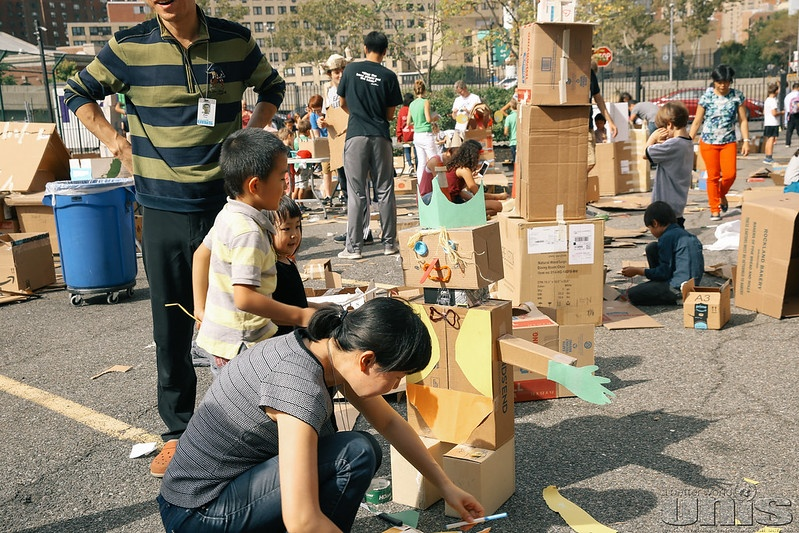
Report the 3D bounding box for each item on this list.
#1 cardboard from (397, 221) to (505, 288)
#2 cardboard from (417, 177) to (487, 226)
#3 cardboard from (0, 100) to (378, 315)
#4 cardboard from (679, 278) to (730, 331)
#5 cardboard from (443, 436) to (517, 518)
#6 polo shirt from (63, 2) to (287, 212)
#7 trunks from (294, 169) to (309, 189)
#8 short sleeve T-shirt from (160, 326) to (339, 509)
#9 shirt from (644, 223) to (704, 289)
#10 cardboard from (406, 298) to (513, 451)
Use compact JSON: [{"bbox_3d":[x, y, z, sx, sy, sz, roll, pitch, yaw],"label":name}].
[{"bbox_3d":[0.341,-0.058,3.979,0.662,0.381,0.431,0,-1,18],"label":"cardboard"},{"bbox_3d":[0.319,-0.405,3.841,0.328,0.262,0.323,-6,10,-11],"label":"cardboard"},{"bbox_3d":[-3.878,-1.153,9.801,4.148,3.773,2.601,-1,11,-3],"label":"cardboard"},{"bbox_3d":[2.677,0.318,5.699,0.410,0.424,0.431,2,18,27],"label":"cardboard"},{"bbox_3d":[0.476,1.199,3.710,0.267,0.349,0.403,8,15,40],"label":"cardboard"},{"bbox_3d":[-1.377,-0.982,4.108,1.280,1.251,0.424,-7,12,-22],"label":"polo shirt"},{"bbox_3d":[-1.828,-1.648,12.102,0.327,0.417,0.233,8,22,10],"label":"trunks"},{"bbox_3d":[-0.703,0.736,3.092,0.551,0.800,0.804,20,5,-17],"label":"short sleeve T-shirt"},{"bbox_3d":[2.634,-0.135,6.267,0.567,0.650,0.593,-10,11,-34],"label":"shirt"},{"bbox_3d":[0.337,0.626,3.733,0.627,0.806,0.308,0,12,12],"label":"cardboard"}]
